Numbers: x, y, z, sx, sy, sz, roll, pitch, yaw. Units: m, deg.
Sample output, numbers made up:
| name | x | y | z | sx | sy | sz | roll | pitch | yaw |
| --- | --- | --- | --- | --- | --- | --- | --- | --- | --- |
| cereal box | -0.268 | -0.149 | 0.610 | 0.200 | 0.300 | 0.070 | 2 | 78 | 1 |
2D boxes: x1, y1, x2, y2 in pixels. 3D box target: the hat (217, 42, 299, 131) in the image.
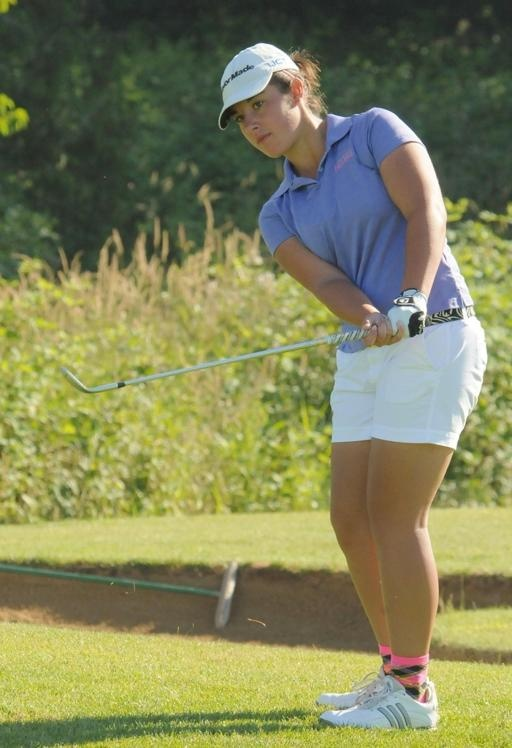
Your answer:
| name | x | y | z | sx | sy | sz | roll | pitch | yaw |
| --- | --- | --- | --- | --- | --- | --- | --- | --- | --- |
| hat | 0.018 | -0.958 | 4.114 | 0.284 | 0.144 | 0.199 | -41 | 15 | -25 |

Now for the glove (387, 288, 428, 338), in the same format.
| name | x | y | z | sx | sy | sz | roll | pitch | yaw |
| --- | --- | --- | --- | --- | --- | --- | --- | --- | --- |
| glove | 0.453 | -0.183 | 3.820 | 0.107 | 0.060 | 0.138 | -44 | -18 | 4 |

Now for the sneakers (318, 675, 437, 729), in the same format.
| name | x | y | z | sx | sy | sz | roll | pitch | yaw |
| --- | --- | --- | --- | --- | --- | --- | --- | --- | --- |
| sneakers | 0.415 | 1.050 | 3.994 | 0.428 | 0.163 | 0.143 | 2 | -14 | 4 |

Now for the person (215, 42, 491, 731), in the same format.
| name | x | y | z | sx | sy | sz | roll | pitch | yaw |
| --- | --- | --- | --- | --- | --- | --- | --- | --- | --- |
| person | 0.340 | 0.017 | 4.061 | 0.540 | 2.135 | 0.892 | -6 | 13 | -35 |

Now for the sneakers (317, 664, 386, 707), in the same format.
| name | x | y | z | sx | sy | sz | roll | pitch | yaw |
| --- | --- | --- | --- | --- | --- | --- | --- | --- | --- |
| sneakers | 0.258 | 1.039 | 4.103 | 0.309 | 0.115 | 0.091 | -9 | 12 | 1 |

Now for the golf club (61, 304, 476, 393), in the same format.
| name | x | y | z | sx | sy | sz | roll | pitch | yaw |
| --- | --- | --- | --- | --- | --- | --- | --- | --- | --- |
| golf club | -0.031 | -0.095 | 5.453 | 1.872 | 0.276 | 0.133 | -11 | -3 | -5 |
